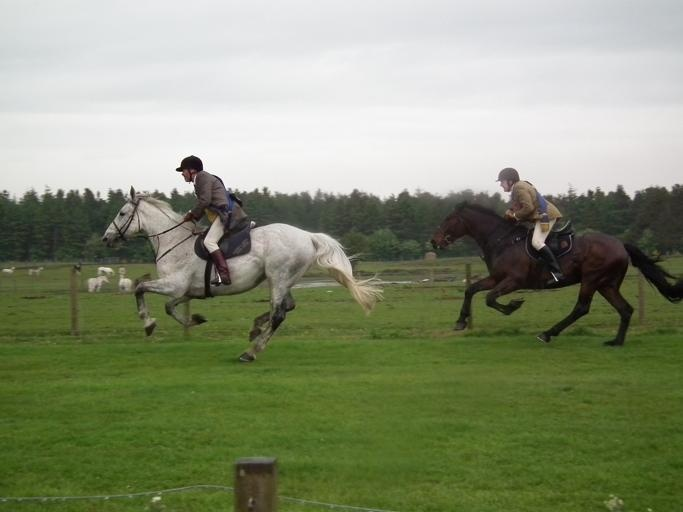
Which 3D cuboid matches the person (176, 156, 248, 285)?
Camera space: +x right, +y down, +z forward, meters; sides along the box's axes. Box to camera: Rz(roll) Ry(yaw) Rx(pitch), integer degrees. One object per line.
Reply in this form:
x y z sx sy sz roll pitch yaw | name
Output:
-2.417 -0.705 13.129 1.133 2.421 1.386 -6 13 -17 | person

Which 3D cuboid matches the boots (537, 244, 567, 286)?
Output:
4.232 0.208 13.931 0.495 0.836 0.206 3 14 17 | boots

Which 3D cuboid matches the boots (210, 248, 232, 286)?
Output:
-2.236 0.206 12.914 0.291 0.671 0.228 9 17 39 | boots

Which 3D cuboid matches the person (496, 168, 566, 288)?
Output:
3.982 -0.660 14.339 0.955 2.290 1.595 -6 13 -18 | person
